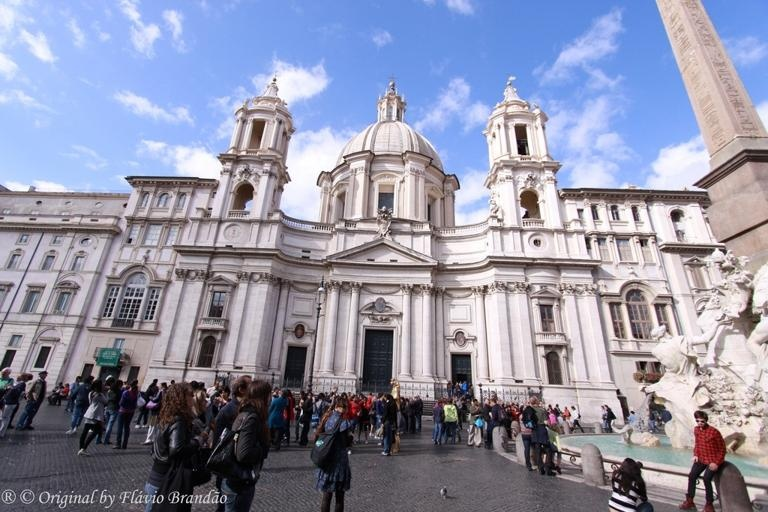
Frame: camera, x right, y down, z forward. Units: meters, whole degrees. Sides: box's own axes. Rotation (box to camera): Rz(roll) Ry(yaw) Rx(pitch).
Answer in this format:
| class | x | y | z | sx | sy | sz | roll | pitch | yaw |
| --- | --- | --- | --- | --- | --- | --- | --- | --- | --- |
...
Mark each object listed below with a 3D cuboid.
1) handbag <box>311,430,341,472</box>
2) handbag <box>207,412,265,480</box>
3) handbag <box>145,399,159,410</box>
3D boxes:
| class | x | y | z | sx | sy | sz | roll | pitch | yaw |
| --- | --- | --- | --- | --- | --- | --- | --- | --- | --- |
| handbag | -1.356 | 4.419 | 8.780 | 0.664 | 0.857 | 0.439 | -1 | -24 | 8 |
| handbag | -2.780 | 3.634 | 7.308 | 0.980 | 1.310 | 0.631 | 11 | -25 | -19 |
| handbag | -9.059 | 5.737 | 14.853 | 0.466 | 0.153 | 0.455 | 21 | -18 | -21 |
